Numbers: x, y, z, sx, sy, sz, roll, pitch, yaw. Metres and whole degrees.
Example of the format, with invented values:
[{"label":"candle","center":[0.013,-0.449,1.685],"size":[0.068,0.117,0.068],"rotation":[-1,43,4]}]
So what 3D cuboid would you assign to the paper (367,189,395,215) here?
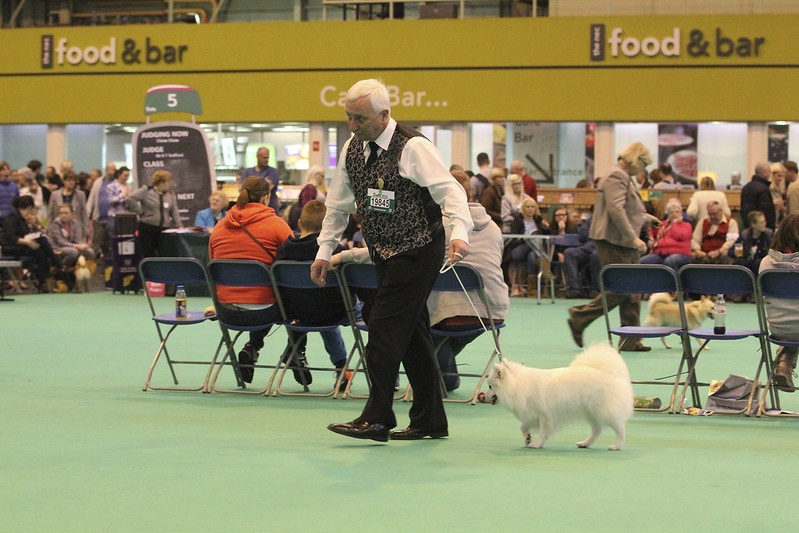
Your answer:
[{"label":"paper","center":[-0.147,-0.563,9.059],"size":[0.219,0.180,0.015],"rotation":[4,4,17]}]

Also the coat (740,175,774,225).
[{"label":"coat","center":[5.657,-1.019,16.519],"size":[0.486,0.791,0.830],"rotation":[-6,8,-12]}]

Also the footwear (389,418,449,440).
[{"label":"footwear","center":[0.171,1.442,9.276],"size":[0.529,0.214,0.182],"rotation":[2,-3,-1]}]

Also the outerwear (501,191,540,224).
[{"label":"outerwear","center":[1.941,-0.941,17.022],"size":[0.502,0.465,0.272],"rotation":[5,-32,-8]}]

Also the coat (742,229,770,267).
[{"label":"coat","center":[5.140,-0.265,15.073],"size":[0.562,0.664,0.356],"rotation":[0,-5,16]}]

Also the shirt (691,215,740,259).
[{"label":"shirt","center":[4.966,-0.441,16.397],"size":[0.674,0.699,0.549],"rotation":[2,-6,33]}]

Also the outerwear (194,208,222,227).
[{"label":"outerwear","center":[-2.886,-0.736,15.883],"size":[0.490,0.161,0.266],"rotation":[-3,29,-5]}]

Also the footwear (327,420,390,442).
[{"label":"footwear","center":[-0.319,1.416,8.982],"size":[0.549,0.238,0.206],"rotation":[11,-12,1]}]

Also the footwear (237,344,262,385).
[{"label":"footwear","center":[-1.550,0.991,10.725],"size":[0.156,0.455,0.313],"rotation":[3,13,8]}]

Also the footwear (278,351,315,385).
[{"label":"footwear","center":[-1.040,1.054,10.728],"size":[0.193,0.532,0.221],"rotation":[-19,40,11]}]

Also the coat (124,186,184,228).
[{"label":"coat","center":[-3.887,-0.924,16.700],"size":[0.980,0.721,0.426],"rotation":[6,3,-40]}]

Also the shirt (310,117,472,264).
[{"label":"shirt","center":[-0.033,-0.635,9.244],"size":[1.614,1.192,0.735],"rotation":[4,12,31]}]

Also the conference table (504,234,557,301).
[{"label":"conference table","center":[1.964,0.027,16.882],"size":[1.207,1.005,1.169],"rotation":[1,1,-5]}]

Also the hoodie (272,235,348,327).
[{"label":"hoodie","center":[-0.755,0.167,10.733],"size":[0.748,0.995,0.861],"rotation":[1,1,13]}]

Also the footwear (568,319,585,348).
[{"label":"footwear","center":[2.049,0.787,12.199],"size":[0.166,0.389,0.133],"rotation":[-12,10,22]}]

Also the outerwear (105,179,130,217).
[{"label":"outerwear","center":[-4.969,-1.223,18.545],"size":[0.430,0.672,0.506],"rotation":[11,15,22]}]
